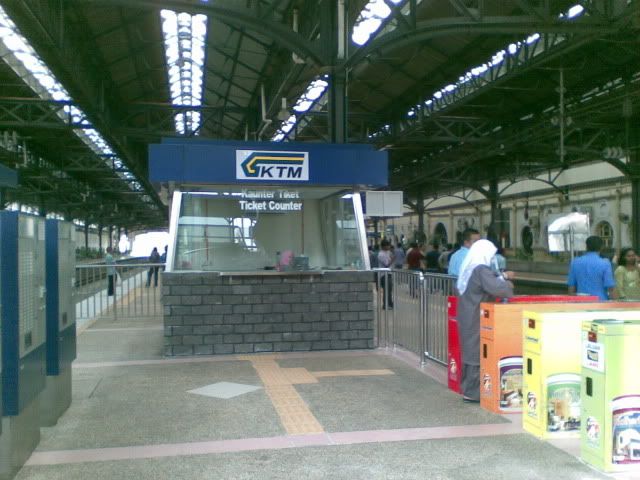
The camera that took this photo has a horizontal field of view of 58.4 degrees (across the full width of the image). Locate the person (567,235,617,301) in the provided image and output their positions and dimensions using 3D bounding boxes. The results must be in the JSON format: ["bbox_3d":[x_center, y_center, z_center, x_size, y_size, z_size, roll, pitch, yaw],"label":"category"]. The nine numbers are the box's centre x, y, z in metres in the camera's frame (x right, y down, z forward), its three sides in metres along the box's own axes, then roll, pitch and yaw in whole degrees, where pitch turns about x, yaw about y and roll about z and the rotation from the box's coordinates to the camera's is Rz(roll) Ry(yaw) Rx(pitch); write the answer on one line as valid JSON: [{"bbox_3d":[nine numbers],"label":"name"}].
[{"bbox_3d":[4.337,0.449,9.230,0.477,0.996,0.700,-3,4,-43],"label":"person"}]
